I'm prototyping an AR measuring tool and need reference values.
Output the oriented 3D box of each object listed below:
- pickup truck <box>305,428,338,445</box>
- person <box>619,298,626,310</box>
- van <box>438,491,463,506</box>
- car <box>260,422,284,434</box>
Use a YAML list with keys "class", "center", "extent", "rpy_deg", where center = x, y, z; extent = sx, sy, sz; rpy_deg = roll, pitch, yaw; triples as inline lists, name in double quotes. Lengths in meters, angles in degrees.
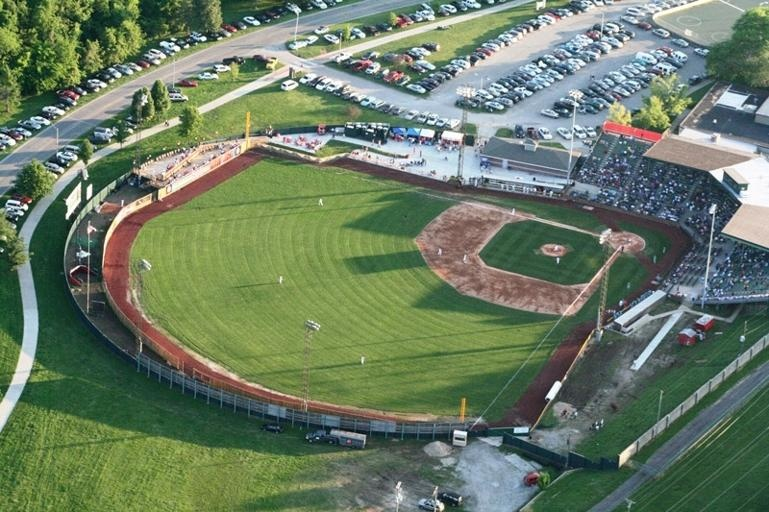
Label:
- class: "pickup truck"
  center: [-9.847, 28.512, 250.387]
  extent: [3.255, 0.886, 2.853]
  rpy_deg: [4, 17, 1]
- class: "person"
  center: [40.729, 8.340, 272.022]
  extent: [1.084, 0.587, 1.517]
  rpy_deg: [19, 82, 27]
- class: "van"
  center: [10.071, 37.189, 243.213]
  extent: [2.905, 0.828, 2.205]
  rpy_deg: [16, 36, 20]
- class: "car"
  center: [-17.557, 27.220, 251.669]
  extent: [2.815, 0.775, 1.534]
  rpy_deg: [9, 26, -2]
